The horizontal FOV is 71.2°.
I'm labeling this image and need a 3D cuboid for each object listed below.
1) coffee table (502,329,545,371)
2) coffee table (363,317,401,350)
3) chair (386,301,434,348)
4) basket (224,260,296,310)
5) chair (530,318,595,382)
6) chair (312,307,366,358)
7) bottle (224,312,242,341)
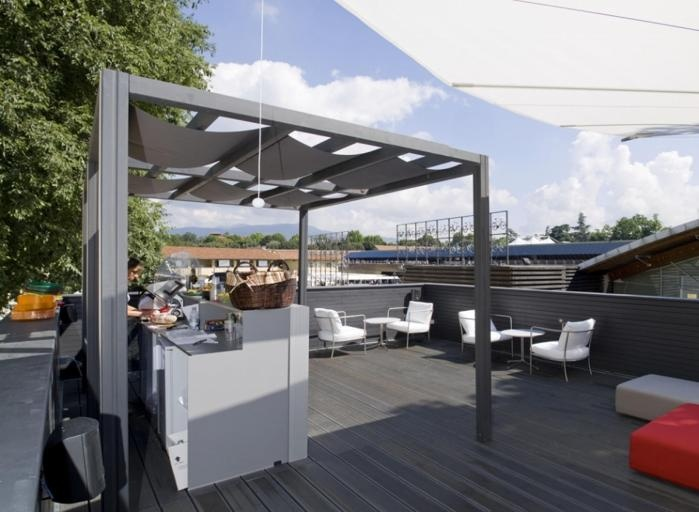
[{"bbox_3d":[2.936,1.483,8.267,0.648,0.512,0.652,2,3,44],"label":"coffee table"},{"bbox_3d":[0.617,1.506,9.691,0.574,0.438,0.596,2,6,18],"label":"coffee table"},{"bbox_3d":[1.161,1.327,9.646,0.757,0.814,0.754,-1,1,-39],"label":"chair"},{"bbox_3d":[-0.903,0.306,4.980,0.590,0.419,0.476,-2,2,-34],"label":"basket"},{"bbox_3d":[3.323,1.372,7.711,0.928,1.129,0.960,3,-6,-30],"label":"chair"},{"bbox_3d":[-0.190,1.347,8.941,0.887,0.861,0.802,1,-1,-34],"label":"chair"},{"bbox_3d":[-1.197,0.726,4.992,0.159,0.247,0.314,-1,6,-15],"label":"bottle"}]
